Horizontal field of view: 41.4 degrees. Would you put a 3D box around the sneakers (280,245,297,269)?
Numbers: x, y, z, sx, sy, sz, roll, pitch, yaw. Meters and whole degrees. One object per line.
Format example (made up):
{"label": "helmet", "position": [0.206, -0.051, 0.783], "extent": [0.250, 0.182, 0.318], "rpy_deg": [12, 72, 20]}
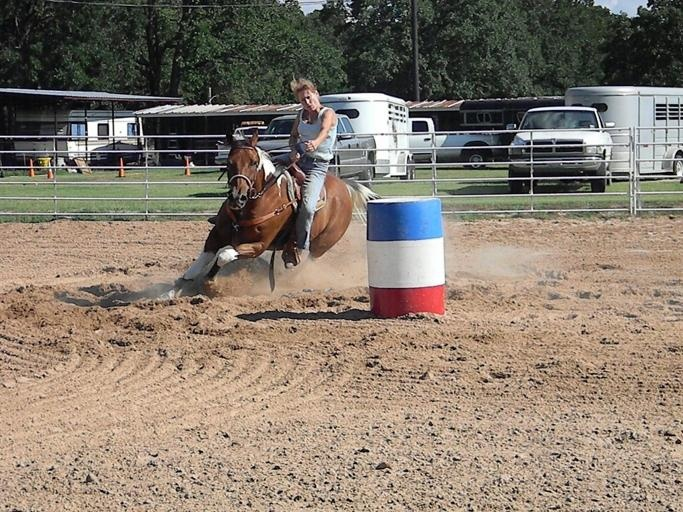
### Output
{"label": "sneakers", "position": [-0.653, 0.004, 11.466], "extent": [0.158, 0.293, 0.232], "rpy_deg": [-1, -9, -19]}

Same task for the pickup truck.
{"label": "pickup truck", "position": [-0.840, -2.571, 21.151], "extent": [2.137, 1.606, 4.224], "rpy_deg": [1, 3, 24]}

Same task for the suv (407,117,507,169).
{"label": "suv", "position": [4.438, -4.437, 34.085], "extent": [5.586, 2.095, 2.686], "rpy_deg": [1, 2, -1]}

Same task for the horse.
{"label": "horse", "position": [-0.838, -0.568, 11.499], "extent": [1.008, 1.906, 2.492], "rpy_deg": [3, 8, 36]}

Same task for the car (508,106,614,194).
{"label": "car", "position": [5.284, -2.679, 21.470], "extent": [2.091, 1.412, 3.624], "rpy_deg": [0, 3, 13]}
